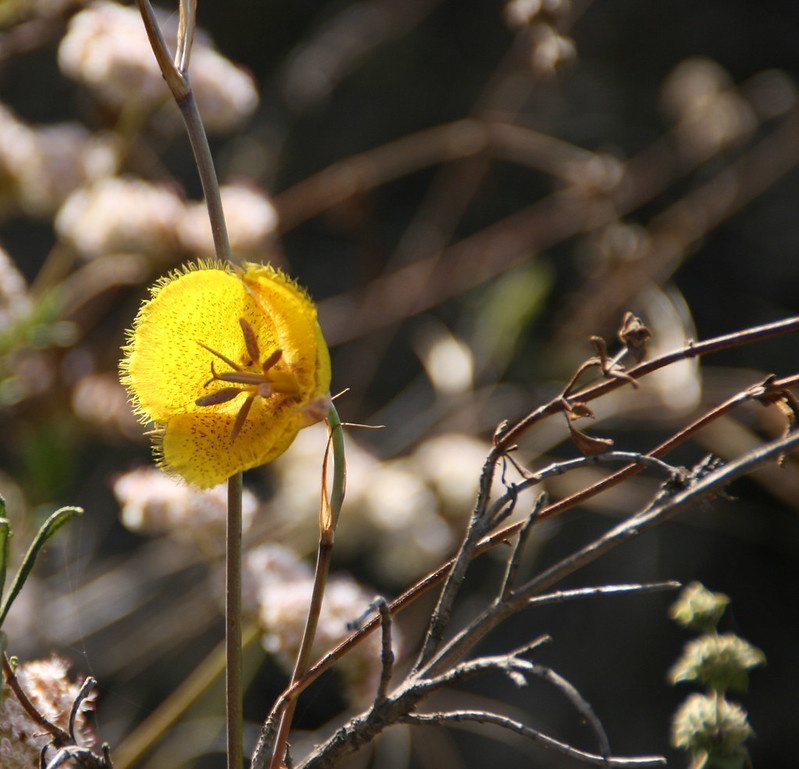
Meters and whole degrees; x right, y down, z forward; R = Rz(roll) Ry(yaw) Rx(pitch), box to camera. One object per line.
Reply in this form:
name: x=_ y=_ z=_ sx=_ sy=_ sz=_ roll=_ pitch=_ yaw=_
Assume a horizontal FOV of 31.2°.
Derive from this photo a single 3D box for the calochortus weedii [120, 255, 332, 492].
calochortus weedii: x=-0.173 y=-0.017 z=1.393 sx=0.191 sy=0.169 sz=0.166 roll=-20 pitch=-53 yaw=26
